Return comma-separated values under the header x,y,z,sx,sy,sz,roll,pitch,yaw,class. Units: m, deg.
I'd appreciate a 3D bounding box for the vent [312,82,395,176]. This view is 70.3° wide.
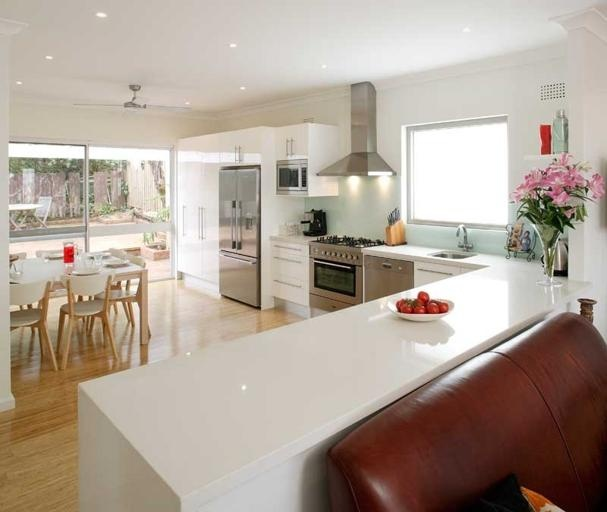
x,y,z,sx,sy,sz,roll,pitch,yaw,class
0.741,-1.490,5.439,0.918,1.263,1.017,2,4,40,vent

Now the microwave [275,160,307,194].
x,y,z,sx,sy,sz,roll,pitch,yaw,class
-0.119,-1.013,5.574,0.445,0.445,0.269,3,8,20,microwave

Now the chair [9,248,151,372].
x,y,z,sx,sy,sz,roll,pitch,yaw,class
-2.161,0.491,4.364,1.122,0.862,1.337,-3,11,-21,chair

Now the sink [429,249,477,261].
x,y,z,sx,sy,sz,roll,pitch,yaw,class
1.575,-0.017,4.475,0.206,0.105,0.241,-7,9,-39,sink

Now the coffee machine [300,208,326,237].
x,y,z,sx,sy,sz,roll,pitch,yaw,class
0.107,-0.464,5.930,0.406,0.352,0.282,10,13,42,coffee machine

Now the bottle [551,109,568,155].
x,y,z,sx,sy,sz,roll,pitch,yaw,class
1.890,-0.906,3.164,0.113,0.307,0.074,9,12,43,bottle

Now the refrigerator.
x,y,z,sx,sy,sz,roll,pitch,yaw,class
-0.888,-0.292,5.975,0.276,1.892,1.035,-5,11,-32,refrigerator

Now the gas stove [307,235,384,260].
x,y,z,sx,sy,sz,roll,pitch,yaw,class
0.570,-0.115,5.203,0.840,0.183,0.663,10,14,41,gas stove

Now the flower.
x,y,z,sx,sy,sz,roll,pitch,yaw,class
1.717,-0.265,2.907,0.467,0.851,0.687,7,12,35,flower

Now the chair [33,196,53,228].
x,y,z,sx,sy,sz,roll,pitch,yaw,class
-3.807,-0.664,6.300,0.235,0.500,0.350,7,13,0,chair

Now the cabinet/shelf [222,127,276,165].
x,y,z,sx,sy,sz,roll,pitch,yaw,class
-0.814,-1.441,5.907,0.698,0.509,0.255,4,7,30,cabinet/shelf

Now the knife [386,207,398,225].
x,y,z,sx,sy,sz,roll,pitch,yaw,class
1.040,-0.465,5.056,0.053,0.191,0.125,1,-15,32,knife
